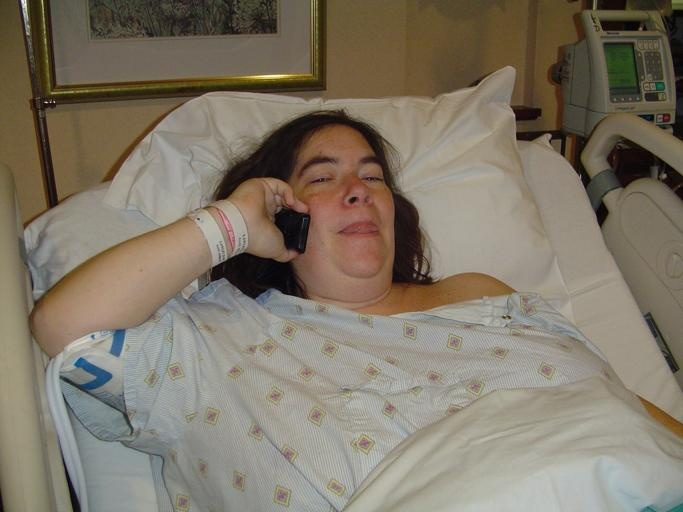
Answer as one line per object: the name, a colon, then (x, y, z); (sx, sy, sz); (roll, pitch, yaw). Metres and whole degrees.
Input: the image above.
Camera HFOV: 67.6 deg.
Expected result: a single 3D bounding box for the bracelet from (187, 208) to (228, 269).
bracelet: (-0.336, -0.043, 1.320); (0.047, 0.132, 0.120); (-12, 36, -22)
